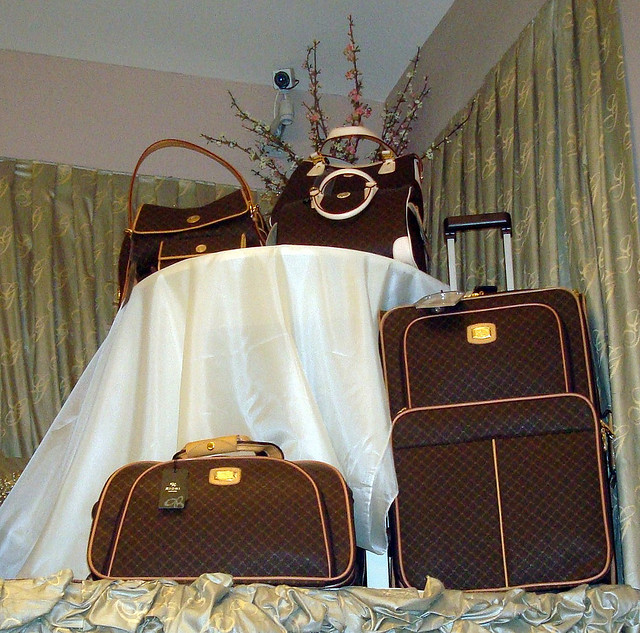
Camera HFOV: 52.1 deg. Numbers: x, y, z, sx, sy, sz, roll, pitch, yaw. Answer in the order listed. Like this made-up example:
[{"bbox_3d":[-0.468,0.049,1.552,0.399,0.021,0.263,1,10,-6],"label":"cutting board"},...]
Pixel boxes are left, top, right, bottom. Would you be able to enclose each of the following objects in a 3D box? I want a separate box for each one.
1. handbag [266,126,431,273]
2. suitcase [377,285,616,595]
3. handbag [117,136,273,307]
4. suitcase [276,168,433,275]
[{"bbox_3d":[0.076,-0.271,1.664,0.341,0.437,0.242,0,-27,15],"label":"handbag"},{"bbox_3d":[0.340,0.255,1.235,0.403,0.568,0.331,-5,-22,14],"label":"suitcase"},{"bbox_3d":[-0.361,-0.292,1.836,0.388,0.486,0.203,-10,-14,-11],"label":"handbag"},{"bbox_3d":[0.078,-0.220,1.516,0.289,0.282,0.164,4,-25,16],"label":"suitcase"}]
